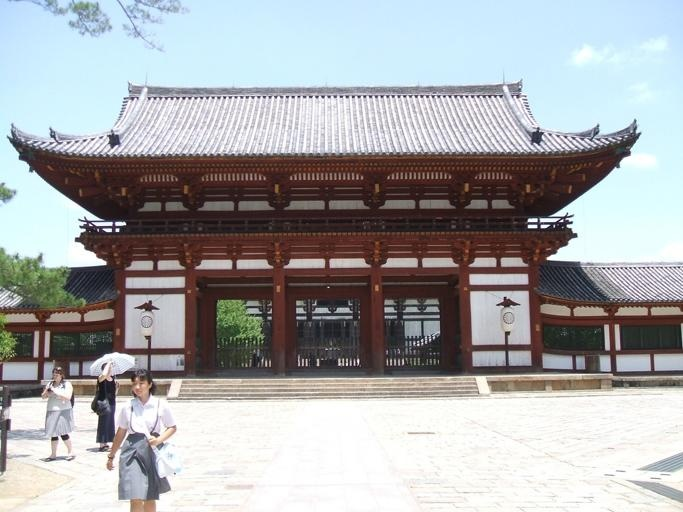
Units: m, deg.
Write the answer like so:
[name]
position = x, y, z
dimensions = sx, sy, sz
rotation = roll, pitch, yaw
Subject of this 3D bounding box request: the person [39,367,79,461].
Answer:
[person]
position = -6.073, 3.396, 15.253
dimensions = 0.722, 1.936, 0.696
rotation = 3, -16, -19

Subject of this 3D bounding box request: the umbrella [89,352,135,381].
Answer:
[umbrella]
position = -5.158, 2.451, 15.958
dimensions = 0.943, 0.372, 0.858
rotation = -7, -25, -4

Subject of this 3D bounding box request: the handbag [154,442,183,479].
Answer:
[handbag]
position = -2.793, 3.279, 11.361
dimensions = 0.445, 0.550, 0.147
rotation = 1, -16, -11
